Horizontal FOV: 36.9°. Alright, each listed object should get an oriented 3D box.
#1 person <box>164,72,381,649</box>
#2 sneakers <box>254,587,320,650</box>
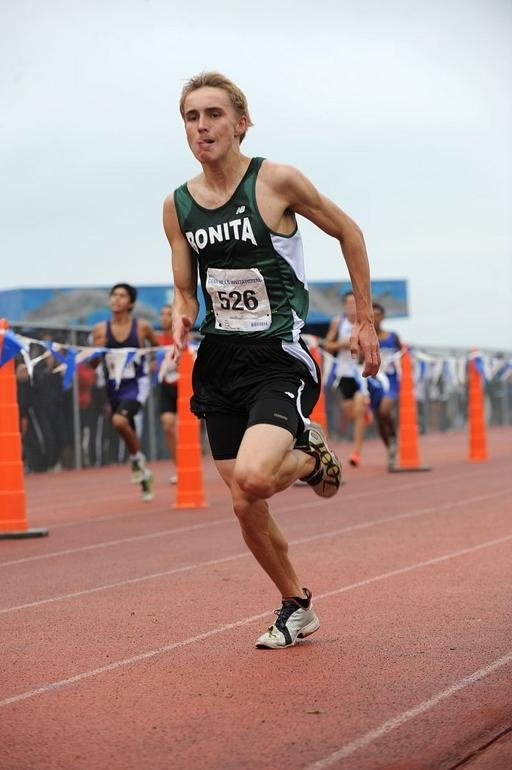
[{"bbox_3d":[0.023,-0.328,2.647,0.571,1.437,0.662,-1,-4,-28],"label":"person"},{"bbox_3d":[0.095,0.805,2.592,0.105,0.143,0.325,-7,-4,34],"label":"sneakers"}]
